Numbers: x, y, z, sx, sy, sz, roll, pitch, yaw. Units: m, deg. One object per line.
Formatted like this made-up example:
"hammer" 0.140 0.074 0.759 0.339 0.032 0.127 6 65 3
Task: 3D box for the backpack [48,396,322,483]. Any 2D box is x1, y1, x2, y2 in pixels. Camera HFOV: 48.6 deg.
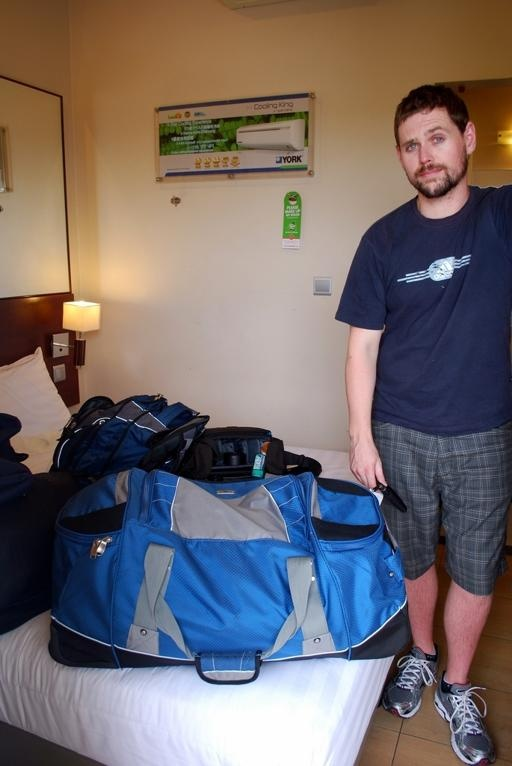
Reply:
"backpack" -0.245 0.204 1.872 0.630 0.267 0.408 -3 -1 8

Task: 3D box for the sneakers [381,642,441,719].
"sneakers" 0.420 0.813 1.546 0.085 0.108 0.224 5 3 26
